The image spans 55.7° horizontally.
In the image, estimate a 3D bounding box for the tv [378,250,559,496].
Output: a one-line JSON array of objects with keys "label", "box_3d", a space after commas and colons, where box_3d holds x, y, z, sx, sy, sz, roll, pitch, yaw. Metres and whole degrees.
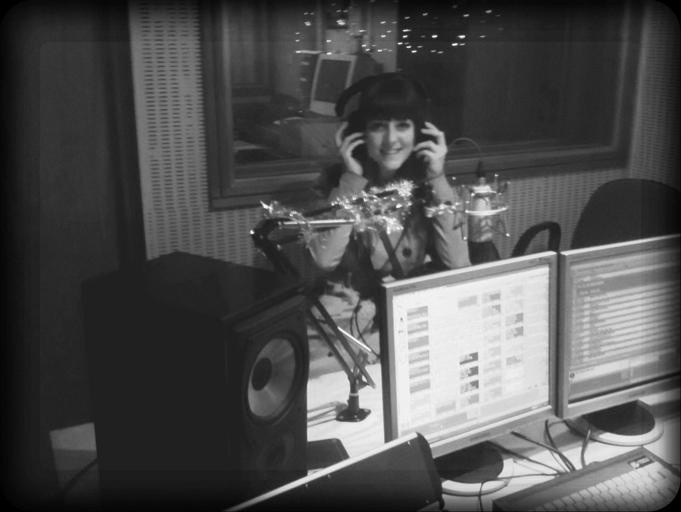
[{"label": "tv", "box_3d": [0.260, 0.246, 1.281, 0.476, 0.379, 0.049, -8, 12, -24]}]

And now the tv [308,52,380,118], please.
[{"label": "tv", "box_3d": [0.001, -0.366, 1.366, 0.108, 0.137, 0.075, 7, 31, -8]}]

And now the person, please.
[{"label": "person", "box_3d": [0.107, -0.025, 1.578, 0.326, 0.839, 0.281, -2, 28, -6]}]

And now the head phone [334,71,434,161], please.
[{"label": "head phone", "box_3d": [0.099, -0.338, 1.425, 0.228, 0.109, 0.190, -4, -6, -15]}]
